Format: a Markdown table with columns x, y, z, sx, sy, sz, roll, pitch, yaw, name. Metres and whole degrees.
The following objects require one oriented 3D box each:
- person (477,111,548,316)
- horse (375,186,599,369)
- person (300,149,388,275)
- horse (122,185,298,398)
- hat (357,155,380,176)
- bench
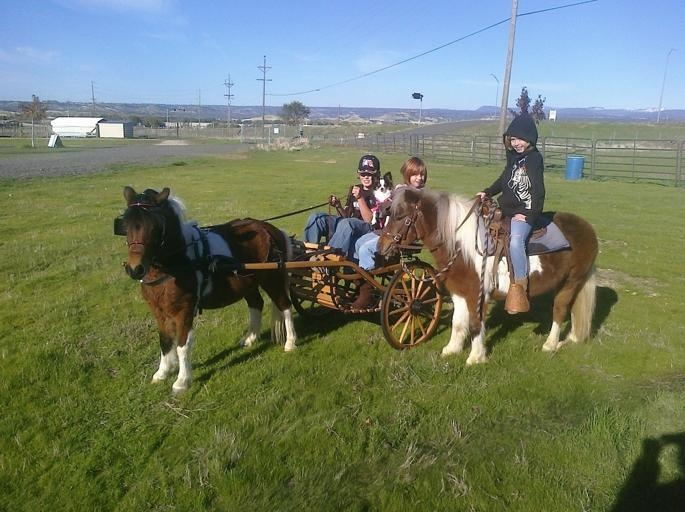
| x | y | z | sx | sy | sz | roll | pitch | yaw | name |
| --- | --- | --- | --- | --- | --- | --- | --- | --- | --- |
| 2.262 | -0.578 | 6.278 | 0.651 | 2.511 | 1.163 | 0 | 16 | 5 | person |
| 2.229 | 0.278 | 6.697 | 3.305 | 2.437 | 1.096 | -2 | 8 | -10 | horse |
| 0.076 | -0.600 | 7.454 | 1.389 | 2.182 | 0.829 | 13 | -2 | -44 | person |
| -1.723 | 0.354 | 6.322 | 1.056 | 2.486 | 2.797 | 9 | 10 | 31 | horse |
| 0.426 | -1.460 | 7.519 | 0.226 | 0.224 | 0.386 | 3 | 12 | 10 | hat |
| 0.476 | -0.352 | 6.782 | 0.467 | 1.280 | 2.192 | 7 | 24 | 27 | bench |
